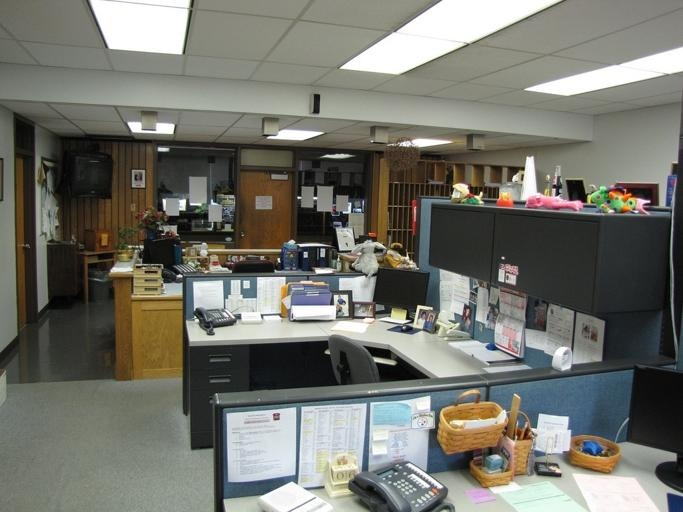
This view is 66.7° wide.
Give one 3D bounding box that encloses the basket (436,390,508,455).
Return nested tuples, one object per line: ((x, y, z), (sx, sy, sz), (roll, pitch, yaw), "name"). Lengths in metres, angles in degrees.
((0.603, 0.764, 2.394), (0.311, 0.224, 0.182), (0, 26, -13), "basket")

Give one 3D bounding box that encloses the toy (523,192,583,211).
((1.203, -0.299, 2.932), (0.214, 0.090, 0.139), (11, 14, 32), "toy")

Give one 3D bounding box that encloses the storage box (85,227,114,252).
((-3.881, -0.256, 8.377), (0.355, 0.352, 0.347), (5, 6, 30), "storage box")

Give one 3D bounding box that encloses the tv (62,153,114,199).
((-4.042, -1.293, 8.309), (0.635, 0.714, 0.391), (-3, 23, -29), "tv")

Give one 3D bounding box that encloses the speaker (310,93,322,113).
((-0.257, -1.630, 5.575), (0.123, 0.219, 0.147), (0, 9, -17), "speaker")

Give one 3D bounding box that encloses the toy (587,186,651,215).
((1.453, -0.290, 2.740), (0.254, 0.123, 0.205), (14, 13, 40), "toy")

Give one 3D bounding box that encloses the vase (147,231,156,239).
((-2.355, -0.271, 6.513), (0.096, 0.104, 0.109), (-1, 10, -23), "vase")

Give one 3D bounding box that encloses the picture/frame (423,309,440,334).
((0.717, 0.533, 4.135), (0.022, 0.229, 0.165), (15, -14, -42), "picture/frame")

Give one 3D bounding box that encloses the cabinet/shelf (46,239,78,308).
((-4.142, 0.257, 7.756), (0.521, 0.883, 0.941), (-1, 5, -15), "cabinet/shelf")

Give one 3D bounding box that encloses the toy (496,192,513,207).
((1.015, -0.344, 3.271), (0.113, 0.110, 0.115), (6, 5, 27), "toy")

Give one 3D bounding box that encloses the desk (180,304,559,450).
((-0.377, 0.792, 4.097), (1.412, 0.521, 1.586), (0, 4, -32), "desk")

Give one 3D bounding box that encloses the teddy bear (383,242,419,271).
((0.624, 0.005, 5.499), (0.154, 0.229, 0.436), (14, 7, -41), "teddy bear")

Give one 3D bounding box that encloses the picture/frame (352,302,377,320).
((0.196, 0.470, 4.465), (0.221, 0.159, 0.117), (0, -2, 1), "picture/frame")

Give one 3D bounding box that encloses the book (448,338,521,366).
((0.975, 0.673, 3.593), (0.240, 0.067, 0.499), (-1, 10, -22), "book")

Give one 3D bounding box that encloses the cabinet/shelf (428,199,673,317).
((1.083, -0.060, 3.241), (0.409, 0.466, 1.282), (-1, 9, -29), "cabinet/shelf")

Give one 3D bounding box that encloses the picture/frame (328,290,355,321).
((-0.002, 0.435, 4.430), (0.251, 0.297, 0.020), (2, -9, -24), "picture/frame")

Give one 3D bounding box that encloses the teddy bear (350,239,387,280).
((0.250, 0.029, 4.731), (0.305, 0.332, 0.334), (-4, 19, -2), "teddy bear")

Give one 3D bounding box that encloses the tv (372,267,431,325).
((0.525, 0.343, 4.391), (0.422, 0.358, 0.138), (7, -2, 30), "tv")

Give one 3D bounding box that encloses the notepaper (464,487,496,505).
((0.618, 1.070, 2.313), (0.116, 0.019, 0.084), (0, 10, -14), "notepaper")

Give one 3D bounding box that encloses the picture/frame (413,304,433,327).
((0.664, 0.493, 4.205), (0.166, 0.223, 0.019), (-1, -20, 42), "picture/frame")

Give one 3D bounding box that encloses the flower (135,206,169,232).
((-2.609, -0.506, 7.272), (0.440, 0.435, 0.439), (0, -6, -13), "flower")
